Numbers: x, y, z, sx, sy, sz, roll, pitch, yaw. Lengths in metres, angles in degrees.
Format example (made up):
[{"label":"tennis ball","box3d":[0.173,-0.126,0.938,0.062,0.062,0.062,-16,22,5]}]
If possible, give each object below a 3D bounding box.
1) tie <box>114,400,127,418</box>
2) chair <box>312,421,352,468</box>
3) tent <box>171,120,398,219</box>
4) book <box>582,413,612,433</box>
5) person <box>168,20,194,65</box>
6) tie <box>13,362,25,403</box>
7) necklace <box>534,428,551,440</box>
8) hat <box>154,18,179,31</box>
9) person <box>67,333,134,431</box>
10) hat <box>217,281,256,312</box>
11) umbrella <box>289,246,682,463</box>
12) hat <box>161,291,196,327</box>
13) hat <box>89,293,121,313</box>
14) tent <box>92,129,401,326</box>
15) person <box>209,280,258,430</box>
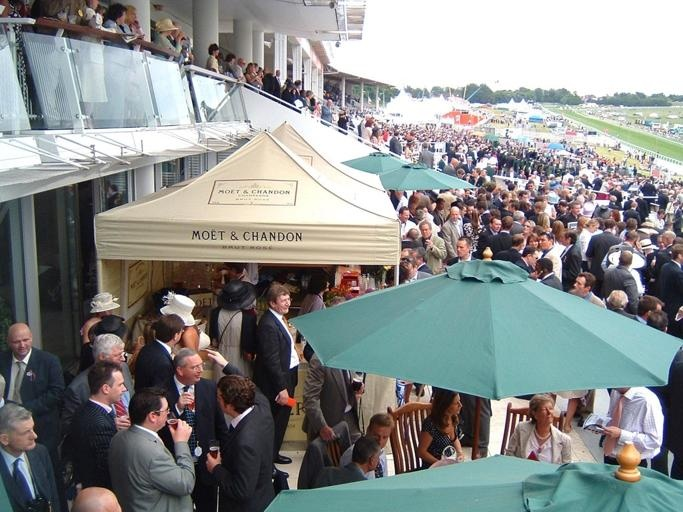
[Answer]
[{"label":"tie","box3d":[-2.035,1.415,5.849,0.082,0.156,0.067,-2,7,-40]},{"label":"chair","box3d":[-0.093,1.687,5.745,0.304,0.534,0.293,-6,-7,38]},{"label":"tent","box3d":[-0.987,-1.371,9.886,2.643,1.369,2.843,5,9,3]},{"label":"book","box3d":[2.490,1.620,6.127,0.413,0.163,0.321,13,-14,-35]},{"label":"person","box3d":[-2.991,-3.939,12.216,0.323,0.838,0.252,-6,52,-5]},{"label":"tie","box3d":[-2.961,1.158,5.824,0.096,0.341,0.108,4,10,-1]},{"label":"necklace","box3d":[1.790,1.587,5.652,0.076,0.105,0.039,-3,-4,16]},{"label":"hat","box3d":[-3.121,-3.960,11.031,0.316,0.163,0.338,4,19,24]},{"label":"person","box3d":[-2.109,1.133,5.602,0.405,0.821,0.567,3,13,14]},{"label":"hat","box3d":[-1.145,0.440,6.909,0.400,0.347,0.323,2,11,-12]},{"label":"umbrella","box3d":[0.990,0.575,4.694,1.429,1.104,1.537,0,11,0]},{"label":"hat","box3d":[-1.757,0.612,6.730,0.368,0.191,0.371,28,11,-7]},{"label":"hat","box3d":[-2.449,0.456,6.654,0.256,0.147,0.246,-1,1,-45]},{"label":"tent","box3d":[-1.235,-0.287,7.608,2.548,1.585,2.605,-3,7,-4]},{"label":"person","box3d":[-1.226,1.038,7.071,0.536,1.431,0.432,7,15,-5]}]
